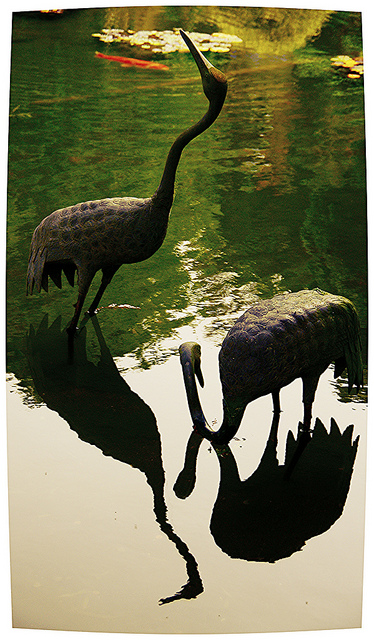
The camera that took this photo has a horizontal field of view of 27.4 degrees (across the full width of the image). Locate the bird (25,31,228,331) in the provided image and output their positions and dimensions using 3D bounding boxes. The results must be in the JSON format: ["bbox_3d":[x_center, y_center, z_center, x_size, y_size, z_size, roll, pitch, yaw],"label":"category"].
[{"bbox_3d":[-0.404,-0.657,4.029,0.386,1.522,1.323,-11,16,-43],"label":"bird"}]

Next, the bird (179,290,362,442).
[{"bbox_3d":[0.411,0.198,3.309,0.847,0.593,0.342,-6,13,-28],"label":"bird"}]
